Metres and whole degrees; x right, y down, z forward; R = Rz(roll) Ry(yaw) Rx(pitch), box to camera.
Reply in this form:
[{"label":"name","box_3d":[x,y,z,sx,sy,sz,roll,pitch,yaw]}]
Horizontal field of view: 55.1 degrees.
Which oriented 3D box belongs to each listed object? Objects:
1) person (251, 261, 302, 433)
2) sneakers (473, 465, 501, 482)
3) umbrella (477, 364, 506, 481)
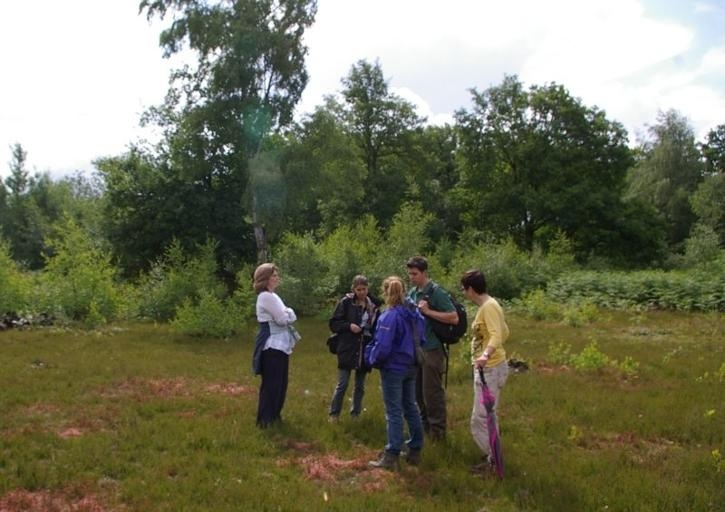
[{"label":"person","box_3d":[-2.188,2.203,17.054,1.012,3.822,1.082,-2,13,-9]},{"label":"sneakers","box_3d":[2.784,4.896,15.552,0.595,0.284,0.272,0,-9,21]},{"label":"umbrella","box_3d":[2.903,3.734,15.483,0.350,2.402,0.794,-7,15,-28]}]
